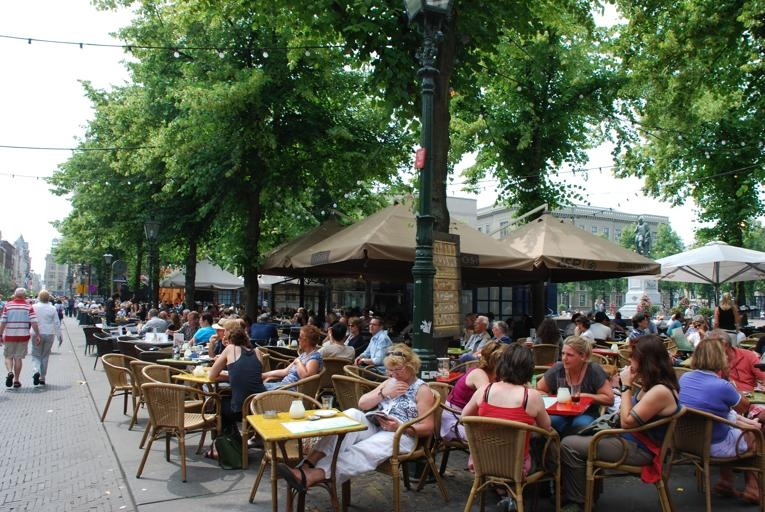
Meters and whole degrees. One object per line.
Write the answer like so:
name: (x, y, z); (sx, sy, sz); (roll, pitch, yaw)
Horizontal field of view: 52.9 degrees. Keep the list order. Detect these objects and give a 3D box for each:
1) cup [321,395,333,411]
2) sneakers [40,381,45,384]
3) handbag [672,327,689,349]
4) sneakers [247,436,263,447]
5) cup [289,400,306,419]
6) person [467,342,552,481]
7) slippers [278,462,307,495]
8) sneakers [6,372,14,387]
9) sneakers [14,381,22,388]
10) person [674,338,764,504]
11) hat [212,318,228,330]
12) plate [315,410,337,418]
cup: (-0.978, 2.580, 13.730); (0.227, 0.166, 0.223); (2, -14, 1)
sneakers: (-9.170, 3.383, 20.716); (0.085, 0.077, 0.114); (0, -2, -8)
handbag: (7.709, 2.127, 19.815); (0.461, 0.553, 0.462); (1, -4, -40)
sneakers: (-2.570, 3.736, 15.583); (0.160, 0.176, 0.451); (-4, -16, 10)
cup: (-1.459, 2.620, 13.284); (0.292, 0.276, 0.276); (-1, 0, 0)
person: (2.155, 2.198, 13.039); (1.326, 1.464, 0.435); (-1, -3, 11)
slippers: (-1.502, 3.754, 13.077); (0.285, 0.714, 0.258); (-9, -41, -39)
sneakers: (-9.772, 3.241, 20.142); (0.210, 0.412, 0.175); (3, 15, -43)
sneakers: (-9.597, 3.336, 20.165); (0.130, 0.146, 0.352); (2, -12, -23)
person: (5.975, 2.877, 13.555); (1.565, 2.884, 0.755); (2, -3, -23)
hat: (-3.816, 1.560, 18.179); (0.467, 0.157, 0.523); (4, -17, 4)
plate: (-0.974, 2.708, 13.345); (0.351, 0.120, 0.213); (0, -4, -5)
